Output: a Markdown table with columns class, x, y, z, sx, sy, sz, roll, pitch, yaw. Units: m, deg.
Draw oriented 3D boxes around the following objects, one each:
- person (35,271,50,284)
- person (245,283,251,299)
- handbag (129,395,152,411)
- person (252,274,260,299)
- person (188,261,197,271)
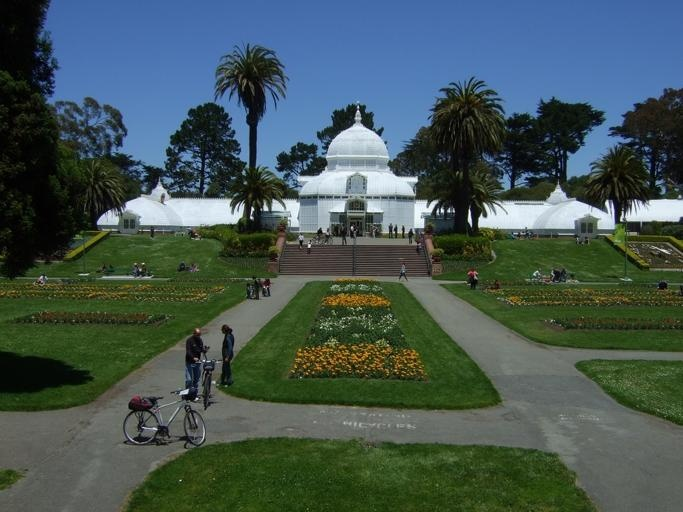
| class | x | y | z | sx | sy | sz | roll | pitch | yaw |
| --- | --- | --- | --- | --- | --- | --- | --- | --- | --- |
| person | -28.026 | 2.152 | 51.038 | 0.628 | 0.860 | 0.895 | 1 | -15 | -5 |
| person | -7.177 | 2.819 | 42.516 | 0.515 | 0.858 | 1.604 | 0 | 4 | -10 |
| handbag | -6.021 | 4.401 | 16.036 | 0.781 | 0.332 | 0.629 | 0 | 10 | -1 |
| person | -6.671 | 2.603 | 42.450 | 0.570 | 1.401 | 2.280 | 0 | 4 | -9 |
| person | -16.289 | 1.322 | 59.370 | 0.851 | 1.126 | 1.191 | 0 | -9 | -1 |
